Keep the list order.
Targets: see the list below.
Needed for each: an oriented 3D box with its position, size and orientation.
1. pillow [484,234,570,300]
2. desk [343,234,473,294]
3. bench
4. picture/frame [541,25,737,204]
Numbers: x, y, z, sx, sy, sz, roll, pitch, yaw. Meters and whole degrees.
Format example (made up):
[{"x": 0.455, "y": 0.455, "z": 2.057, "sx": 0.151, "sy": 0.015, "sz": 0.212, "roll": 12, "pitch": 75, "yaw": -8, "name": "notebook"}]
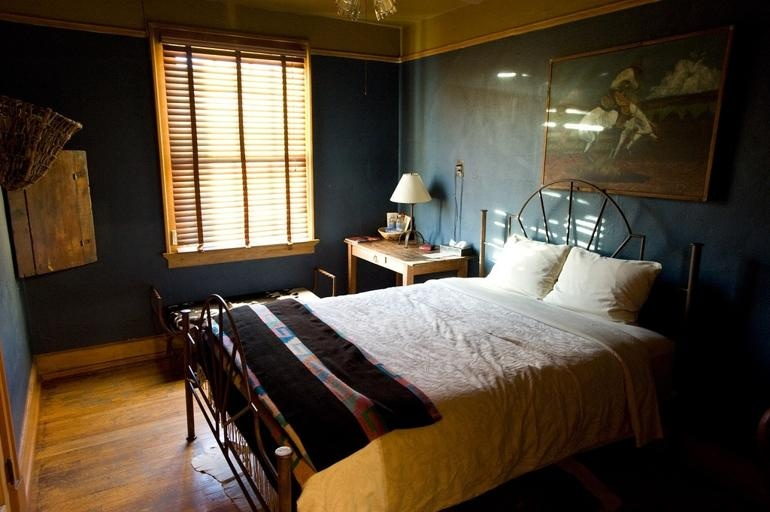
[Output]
[{"x": 1.163, "y": 0.105, "z": 4.359, "sx": 0.160, "sy": 0.507, "sz": 0.543, "roll": 33, "pitch": -6, "yaw": -30, "name": "pillow"}, {"x": 0.177, "y": 0.293, "z": 5.556, "sx": 0.733, "sy": 0.808, "sz": 1.124, "roll": -7, "pitch": 16, "yaw": -30, "name": "desk"}, {"x": -1.364, "y": 0.459, "z": 5.234, "sx": 1.485, "sy": 0.612, "sz": 0.798, "roll": -4, "pitch": 17, "yaw": -18, "name": "bench"}, {"x": 1.911, "y": -1.056, "z": 3.946, "sx": 0.100, "sy": 1.184, "sz": 1.470, "roll": -8, "pitch": 12, "yaw": -39, "name": "picture/frame"}]
